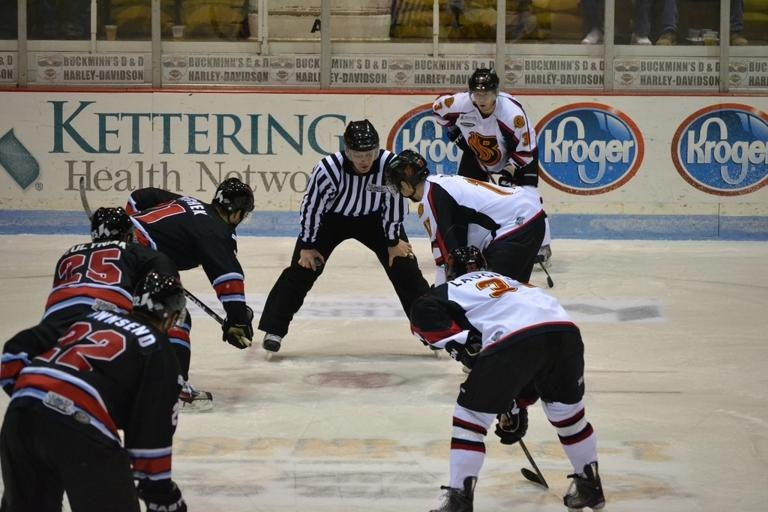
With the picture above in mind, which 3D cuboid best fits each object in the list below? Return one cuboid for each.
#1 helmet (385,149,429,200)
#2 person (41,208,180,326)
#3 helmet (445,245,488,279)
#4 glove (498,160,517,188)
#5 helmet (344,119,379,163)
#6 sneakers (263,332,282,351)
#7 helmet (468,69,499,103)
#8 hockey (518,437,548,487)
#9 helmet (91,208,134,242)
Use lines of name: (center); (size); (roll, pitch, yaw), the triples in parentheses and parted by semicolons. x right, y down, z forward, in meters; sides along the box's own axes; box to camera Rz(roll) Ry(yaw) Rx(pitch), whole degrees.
helmet: (0.117, -0.658, 8.990); (0.430, 0.374, 0.323); (11, 14, 13)
person: (-1.946, 0.104, 7.933); (0.817, 0.383, 0.920); (1, 30, 1)
helmet: (0.564, 0.052, 8.035); (0.219, 0.250, 0.260); (0, 22, -3)
glove: (1.208, -0.817, 11.121); (0.171, 0.221, 0.229); (-9, 3, -22)
helmet: (-0.207, -1.016, 9.757); (0.270, 0.274, 0.298); (-5, -7, -8)
sneakers: (-0.994, 0.750, 9.866); (0.164, 0.189, 0.198); (-1, 6, -7)
helmet: (0.915, -1.609, 10.524); (0.260, 0.281, 0.278); (0, 6, 3)
hockey: (1.003, 1.476, 8.117); (0.087, 0.108, 0.462); (32, 5, -38)
helmet: (-2.014, -0.261, 8.217); (0.242, 0.260, 0.283); (28, 34, 31)
